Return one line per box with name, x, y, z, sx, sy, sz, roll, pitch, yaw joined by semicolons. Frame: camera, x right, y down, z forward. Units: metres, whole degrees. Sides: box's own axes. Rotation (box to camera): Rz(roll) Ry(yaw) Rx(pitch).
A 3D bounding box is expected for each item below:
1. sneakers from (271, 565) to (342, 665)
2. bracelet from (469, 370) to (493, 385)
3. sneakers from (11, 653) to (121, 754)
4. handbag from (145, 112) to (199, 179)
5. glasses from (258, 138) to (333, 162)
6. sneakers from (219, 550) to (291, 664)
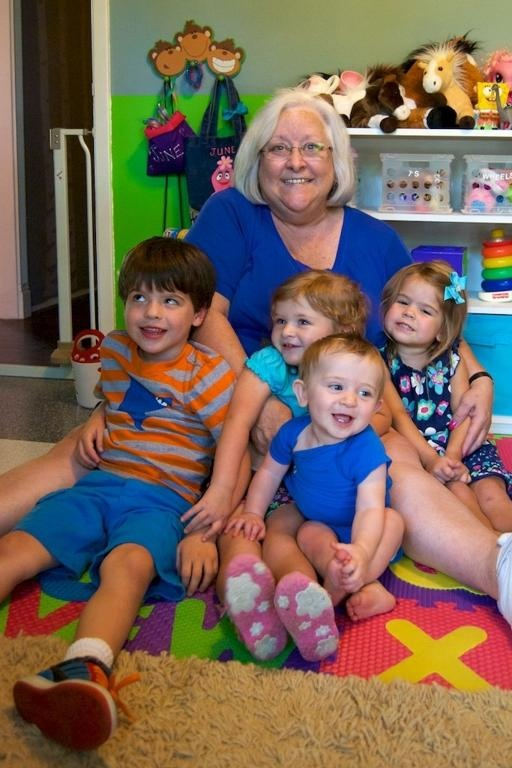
sneakers;0.076;0.327;0.895;0.080;0.132;0.042;-27;19;2
bracelet;0.608;-0.016;1.642;0.043;0.011;0.041;-33;18;-25
sneakers;-0.212;0.358;0.736;0.148;0.077;0.068;9;13;30
handbag;-0.386;-1.116;2.841;0.291;0.283;0.121;-14;9;1
glasses;0.100;-0.555;1.468;0.162;0.044;0.052;0;6;-2
sneakers;-0.011;0.332;0.918;0.085;0.152;0.035;-31;18;-31
